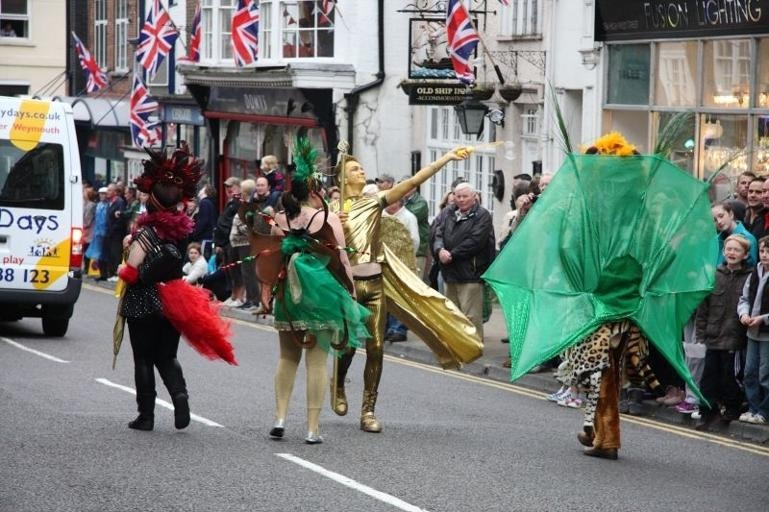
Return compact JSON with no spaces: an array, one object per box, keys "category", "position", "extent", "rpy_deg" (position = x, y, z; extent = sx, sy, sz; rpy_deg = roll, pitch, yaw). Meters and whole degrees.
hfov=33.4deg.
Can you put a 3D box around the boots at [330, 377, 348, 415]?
[{"category":"boots","position":[-0.465,1.620,14.614],"extent":[0.159,0.472,0.196],"rpy_deg":[-7,-16,-23]}]

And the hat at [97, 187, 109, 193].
[{"category":"hat","position":[-6.057,-1.448,27.966],"extent":[0.280,0.075,0.257],"rpy_deg":[-1,0,-5]}]

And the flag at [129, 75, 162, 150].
[{"category":"flag","position":[-5.734,-3.493,31.051],"extent":[0.657,1.786,1.231],"rpy_deg":[1,7,-11]}]

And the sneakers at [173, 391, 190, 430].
[{"category":"sneakers","position":[-2.175,1.663,13.857],"extent":[0.163,0.402,0.170],"rpy_deg":[-4,3,-13]}]

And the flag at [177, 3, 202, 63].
[{"category":"flag","position":[-4.582,-5.405,31.045],"extent":[0.430,1.449,1.652],"rpy_deg":[0,8,-14]}]

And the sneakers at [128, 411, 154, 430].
[{"category":"sneakers","position":[-2.630,1.800,13.977],"extent":[0.128,0.144,0.331],"rpy_deg":[-2,7,-36]}]

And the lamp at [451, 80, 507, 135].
[{"category":"lamp","position":[1.766,-2.931,22.862],"extent":[0.781,1.481,0.518],"rpy_deg":[2,7,3]}]

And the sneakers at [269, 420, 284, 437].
[{"category":"sneakers","position":[-1.141,1.853,13.709],"extent":[0.168,0.230,0.129],"rpy_deg":[4,7,11]}]

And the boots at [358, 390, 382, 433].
[{"category":"boots","position":[-0.136,1.749,14.315],"extent":[0.192,0.433,0.465],"rpy_deg":[0,6,-15]}]
